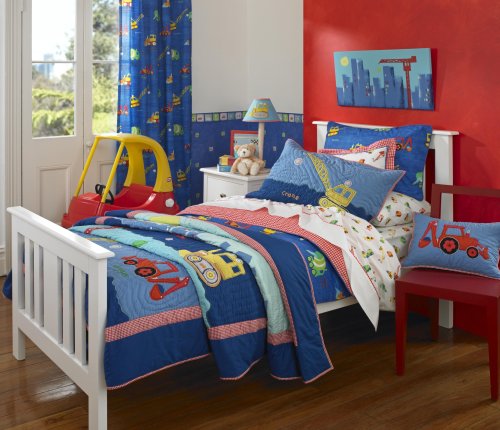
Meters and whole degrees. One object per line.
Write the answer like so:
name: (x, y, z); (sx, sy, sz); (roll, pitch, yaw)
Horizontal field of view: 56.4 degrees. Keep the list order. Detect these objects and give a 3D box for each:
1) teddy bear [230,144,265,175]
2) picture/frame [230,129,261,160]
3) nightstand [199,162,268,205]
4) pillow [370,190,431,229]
teddy bear: (-0.015, -0.438, 3.665); (0.256, 0.230, 0.172); (-1, 24, 12)
picture/frame: (-0.015, -0.579, 3.923); (0.035, 0.251, 0.314); (-21, 18, -32)
nightstand: (-0.141, -0.244, 3.710); (0.329, 0.438, 0.490); (-4, 10, -33)
pillow: (0.860, -0.033, 2.658); (0.271, 0.077, 0.266); (-14, 21, -17)
